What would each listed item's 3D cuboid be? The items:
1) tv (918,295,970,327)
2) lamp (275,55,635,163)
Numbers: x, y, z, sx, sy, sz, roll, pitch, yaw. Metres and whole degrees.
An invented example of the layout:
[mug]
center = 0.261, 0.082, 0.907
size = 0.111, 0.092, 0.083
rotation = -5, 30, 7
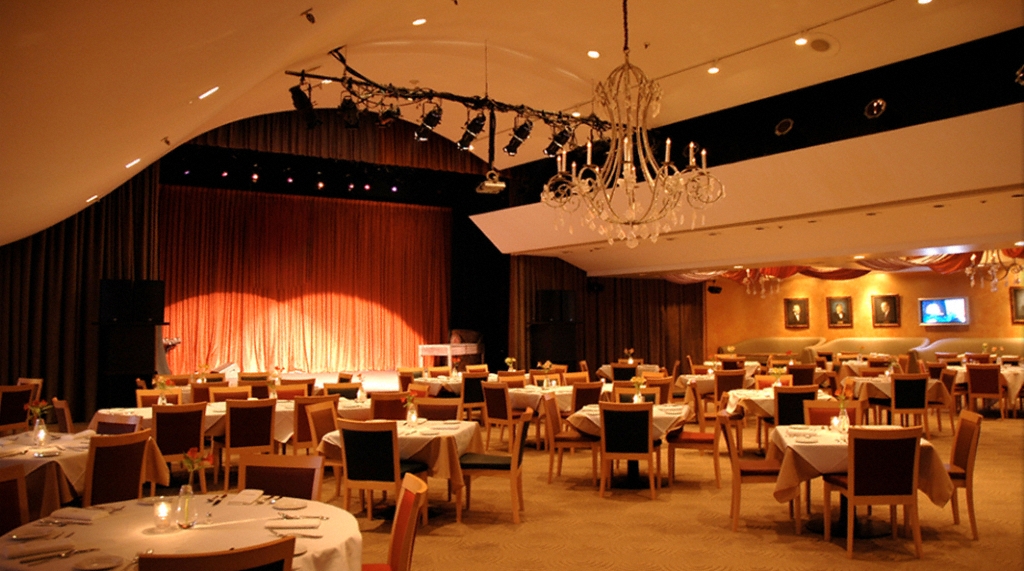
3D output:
[tv]
center = 11.968, 0.713, 20.416
size = 1.192, 0.852, 0.323
rotation = 5, 10, 29
[lamp]
center = -1.136, -3.499, 14.464
size = 6.020, 1.908, 1.060
rotation = 16, -10, 6
